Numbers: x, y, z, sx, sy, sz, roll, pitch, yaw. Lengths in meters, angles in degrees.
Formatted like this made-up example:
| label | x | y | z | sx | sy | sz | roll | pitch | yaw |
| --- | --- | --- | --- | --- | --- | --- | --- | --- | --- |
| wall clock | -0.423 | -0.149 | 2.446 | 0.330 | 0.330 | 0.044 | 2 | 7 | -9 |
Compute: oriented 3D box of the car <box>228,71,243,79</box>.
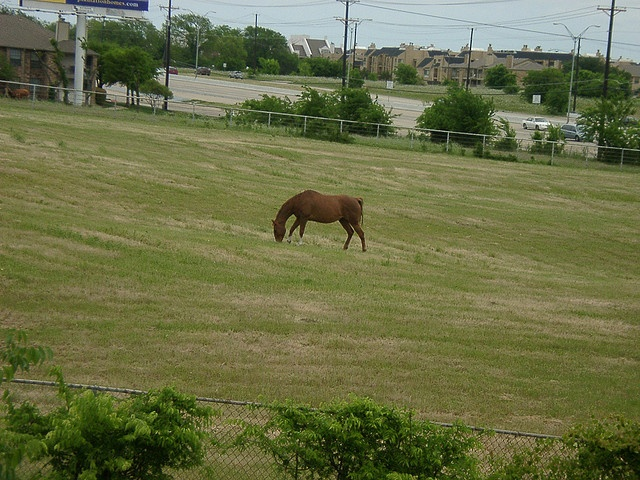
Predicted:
| label | x | y | z | sx | sy | sz | roll | pitch | yaw |
| --- | --- | --- | --- | --- | --- | --- | --- | --- | --- |
| car | -10.028 | -19.411 | 144.657 | 1.015 | 0.771 | 2.193 | -2 | 17 | -17 |

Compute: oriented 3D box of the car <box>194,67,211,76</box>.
| label | x | y | z | sx | sy | sz | roll | pitch | yaw |
| --- | --- | --- | --- | --- | --- | --- | --- | --- | --- |
| car | -13.798 | -19.311 | 142.460 | 1.205 | 1.002 | 2.012 | -10 | 23 | -33 |
